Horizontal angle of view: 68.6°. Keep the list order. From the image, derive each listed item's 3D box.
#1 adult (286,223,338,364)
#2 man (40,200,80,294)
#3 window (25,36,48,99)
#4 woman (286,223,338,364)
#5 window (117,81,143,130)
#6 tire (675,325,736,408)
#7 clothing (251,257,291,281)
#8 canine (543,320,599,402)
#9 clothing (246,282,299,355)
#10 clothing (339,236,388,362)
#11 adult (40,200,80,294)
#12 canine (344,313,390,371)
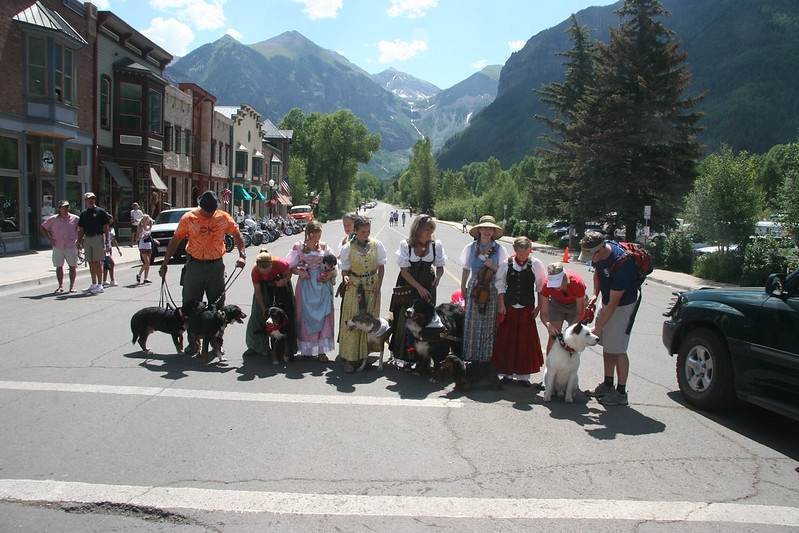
[{"bbox_3d":[-1.514,0.425,10.097,0.822,2.430,0.600,1,5,-14],"label":"adult"},{"bbox_3d":[-8.850,-0.550,15.334,0.792,2.338,1.598,-1,7,-32],"label":"man"},{"bbox_3d":[-14.469,-7.957,23.327,0.247,2.368,0.842,5,6,26],"label":"window"},{"bbox_3d":[-1.502,0.428,10.076,0.840,2.430,0.550,1,5,-11],"label":"woman"},{"bbox_3d":[-14.449,-8.619,31.511,1.396,2.712,0.122,0,-1,-32],"label":"window"},{"bbox_3d":[4.587,1.487,8.697,0.374,1.262,1.025,2,-10,-22],"label":"tire"},{"bbox_3d":[-2.160,0.120,9.903,0.578,0.626,0.367,-4,-5,-10],"label":"clothing"},{"bbox_3d":[2.537,1.437,8.731,0.586,1.273,0.627,2,6,-8],"label":"canine"},{"bbox_3d":[-2.210,0.854,10.145,0.500,1.349,0.293,11,-3,-22],"label":"clothing"},{"bbox_3d":[-0.602,0.527,9.932,0.822,2.005,0.513,-7,10,-31],"label":"clothing"},{"bbox_3d":[-8.830,-0.545,15.301,0.794,2.338,1.520,-1,7,-32],"label":"adult"},{"bbox_3d":[-0.465,1.252,9.856,0.510,1.022,0.853,5,6,26],"label":"canine"}]
